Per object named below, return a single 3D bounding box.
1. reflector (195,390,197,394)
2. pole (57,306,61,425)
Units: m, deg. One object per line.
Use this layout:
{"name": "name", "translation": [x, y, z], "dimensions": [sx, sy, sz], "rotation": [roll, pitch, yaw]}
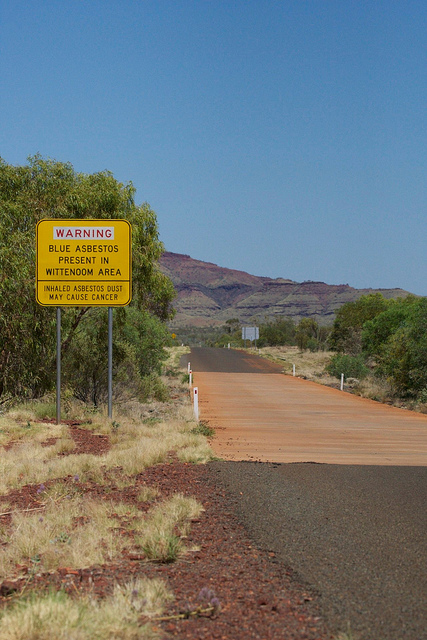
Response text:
{"name": "reflector", "translation": [-0.375, 1.496, 15.493], "dimensions": [0.041, 0.085, 0.043], "rotation": [1, 4, 8]}
{"name": "pole", "translation": [-3.117, 0.860, 14.996], "dimensions": [0.070, 2.268, 0.674], "rotation": [0, 1, -15]}
